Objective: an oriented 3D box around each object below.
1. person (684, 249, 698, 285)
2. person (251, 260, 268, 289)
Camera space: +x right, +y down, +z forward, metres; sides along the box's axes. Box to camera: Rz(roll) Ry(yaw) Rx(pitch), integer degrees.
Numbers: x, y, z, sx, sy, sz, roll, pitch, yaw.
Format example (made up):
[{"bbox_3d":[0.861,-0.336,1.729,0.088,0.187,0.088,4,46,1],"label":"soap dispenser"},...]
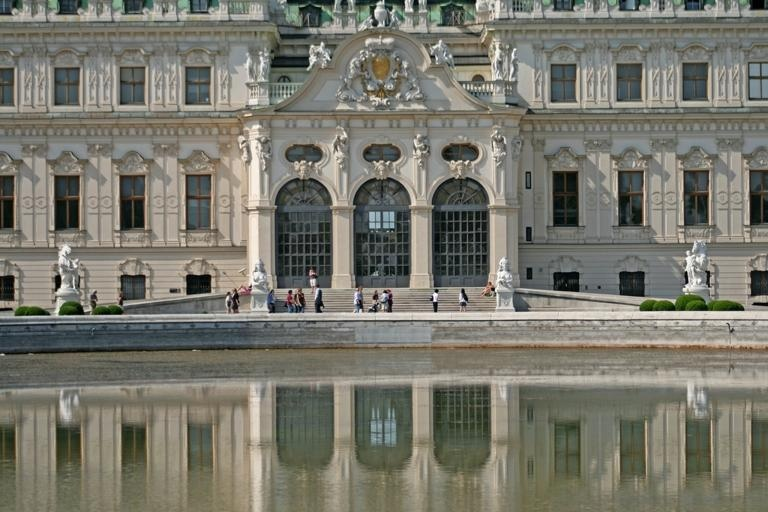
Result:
[{"bbox_3d":[17.556,0.646,149.544,0.507,1.840,1.131,-2,-9,-1],"label":"person"},{"bbox_3d":[-7.428,0.929,148.387,0.757,1.786,0.900,-5,-9,17],"label":"person"}]
